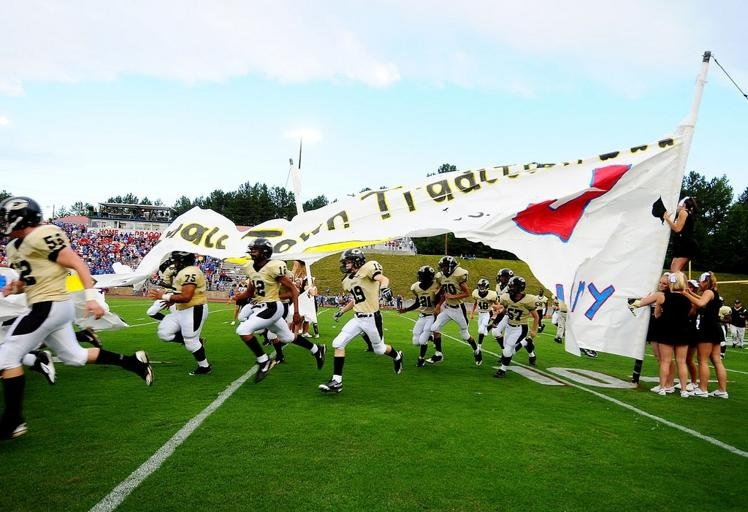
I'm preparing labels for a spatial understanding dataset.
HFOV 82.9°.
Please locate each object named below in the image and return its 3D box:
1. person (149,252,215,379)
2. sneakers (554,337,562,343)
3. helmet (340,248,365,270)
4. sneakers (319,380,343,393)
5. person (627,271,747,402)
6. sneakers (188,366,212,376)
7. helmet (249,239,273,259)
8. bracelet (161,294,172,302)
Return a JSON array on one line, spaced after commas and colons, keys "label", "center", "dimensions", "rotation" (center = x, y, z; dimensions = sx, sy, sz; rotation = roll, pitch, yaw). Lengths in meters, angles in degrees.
[{"label": "person", "center": [-3.285, 0.972, 7.296], "dimensions": [0.983, 2.097, 1.068], "rotation": [5, -4, -20]}, {"label": "sneakers", "center": [6.516, 2.982, 14.854], "dimensions": [0.130, 0.237, 0.249], "rotation": [-7, -48, 49]}, {"label": "helmet", "center": [-0.330, 0.063, 7.034], "dimensions": [0.454, 0.292, 0.306], "rotation": [-4, -5, -29]}, {"label": "sneakers", "center": [-0.684, 1.922, 6.189], "dimensions": [0.456, 0.186, 0.150], "rotation": [9, -16, -20]}, {"label": "person", "center": [5.296, 1.316, 7.193], "dimensions": [1.372, 2.138, 0.862], "rotation": [6, -4, -29]}, {"label": "sneakers", "center": [-2.945, 1.957, 7.170], "dimensions": [0.412, 0.144, 0.133], "rotation": [5, 1, -12]}, {"label": "helmet", "center": [-1.884, -0.138, 6.974], "dimensions": [0.366, 0.316, 0.223], "rotation": [4, -3, -21]}, {"label": "bracelet", "center": [-3.360, 0.676, 6.868], "dimensions": [0.161, 0.129, 0.121], "rotation": [-11, -17, 21]}]
